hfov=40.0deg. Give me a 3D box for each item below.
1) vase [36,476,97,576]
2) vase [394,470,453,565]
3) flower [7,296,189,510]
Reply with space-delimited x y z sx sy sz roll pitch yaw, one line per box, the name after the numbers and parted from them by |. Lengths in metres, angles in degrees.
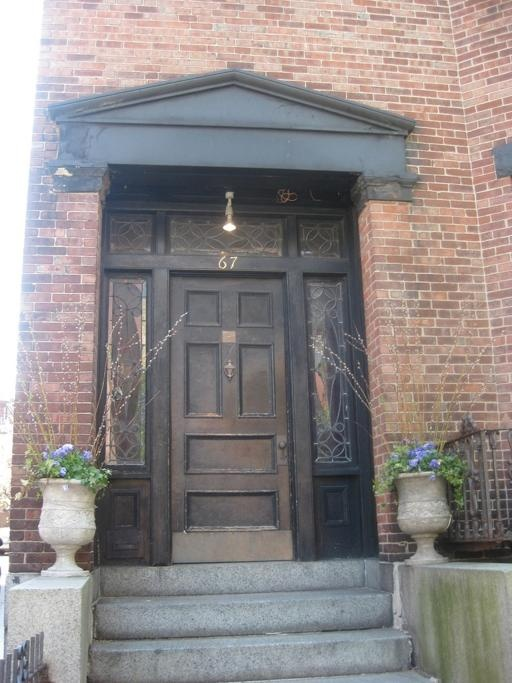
-1.175 1.163 4.337 0.406 0.541 0.417 -20 -26 35 | vase
1.096 1.143 4.593 0.330 0.585 0.259 -3 -8 10 | vase
-1.269 0.359 4.968 0.802 1.507 1.313 -4 -8 19 | flower
